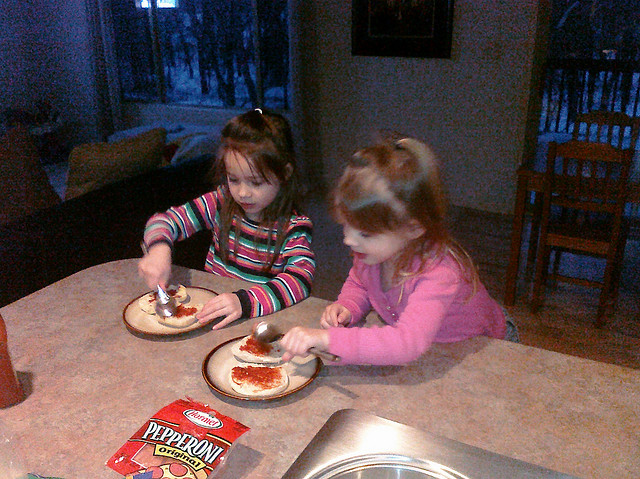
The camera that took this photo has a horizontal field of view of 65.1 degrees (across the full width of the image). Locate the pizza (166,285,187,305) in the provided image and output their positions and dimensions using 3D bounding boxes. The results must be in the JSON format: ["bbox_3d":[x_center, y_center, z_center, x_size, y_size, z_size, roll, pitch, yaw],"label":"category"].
[{"bbox_3d":[-0.435,0.170,1.542,0.057,0.014,0.057,20,19,-33],"label":"pizza"}]

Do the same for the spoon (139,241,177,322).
[{"bbox_3d":[-0.505,0.137,1.560,0.059,0.042,0.281,-22,52,-20],"label":"spoon"}]

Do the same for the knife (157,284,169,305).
[{"bbox_3d":[-0.454,0.162,1.459,0.020,0.004,0.070,-22,39,-12],"label":"knife"}]

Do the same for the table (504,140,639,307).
[{"bbox_3d":[1.712,-0.070,3.379,0.824,1.015,1.076,8,16,13],"label":"table"}]

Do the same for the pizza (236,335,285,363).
[{"bbox_3d":[-0.153,0.282,1.293,0.100,0.015,0.067,15,29,13],"label":"pizza"}]

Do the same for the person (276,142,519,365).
[{"bbox_3d":[0.243,0.033,1.484,0.490,0.563,0.868,16,16,39],"label":"person"}]

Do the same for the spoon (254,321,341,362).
[{"bbox_3d":[-0.052,0.242,1.248,0.226,0.082,0.062,13,0,35],"label":"spoon"}]
